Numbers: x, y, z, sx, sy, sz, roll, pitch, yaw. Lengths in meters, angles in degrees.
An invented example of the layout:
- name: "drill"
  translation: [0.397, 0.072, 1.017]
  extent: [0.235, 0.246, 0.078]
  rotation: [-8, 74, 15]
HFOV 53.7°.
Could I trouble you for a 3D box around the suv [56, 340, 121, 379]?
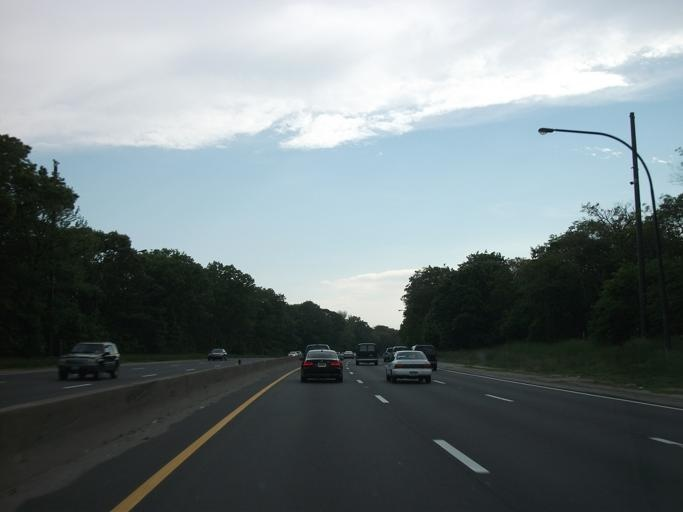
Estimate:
- name: "suv"
  translation: [-11.699, 4.903, 31.777]
  extent: [1.549, 1.277, 2.734]
  rotation: [-3, -18, 3]
